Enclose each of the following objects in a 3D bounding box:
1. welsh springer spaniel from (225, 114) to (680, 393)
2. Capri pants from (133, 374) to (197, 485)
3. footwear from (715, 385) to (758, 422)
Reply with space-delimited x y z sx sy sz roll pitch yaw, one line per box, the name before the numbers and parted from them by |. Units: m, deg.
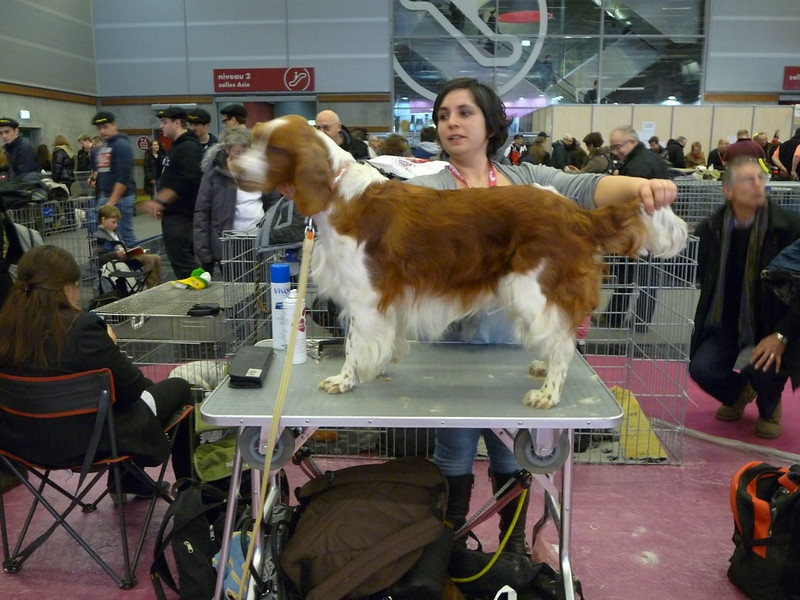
welsh springer spaniel | 0.609 -0.268 2.850 2.380 1.590 0.741 2 10 7
Capri pants | -1.364 0.802 3.725 0.355 0.630 0.378 1 15 -10
footwear | 2.801 0.838 5.126 0.495 0.285 0.172 -11 9 -37
